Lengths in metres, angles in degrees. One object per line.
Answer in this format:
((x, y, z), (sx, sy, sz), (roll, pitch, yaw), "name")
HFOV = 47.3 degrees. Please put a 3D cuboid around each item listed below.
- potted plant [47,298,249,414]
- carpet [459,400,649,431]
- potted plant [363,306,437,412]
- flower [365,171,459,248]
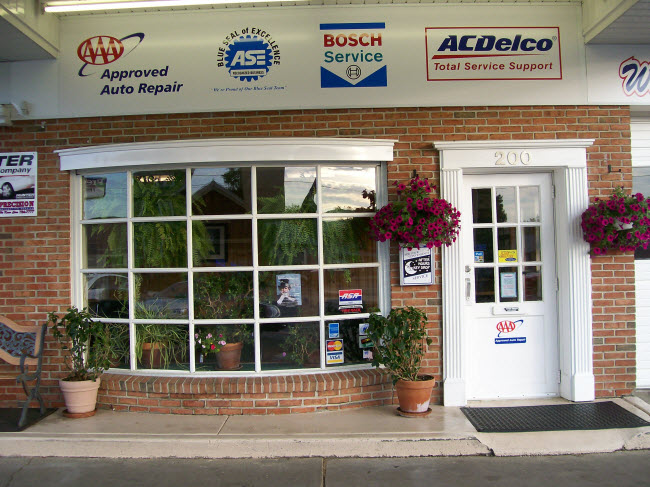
((-2.875, 1.523, 10.096), (1.354, 1.596, 1.209), (5, -10, -24), "potted plant")
((2.837, 2.157, 9.235), (2.142, 0.203, 0.792), (0, -2, -4), "carpet")
((0.971, 1.494, 9.552), (0.833, 1.339, 0.545), (-1, -3, 9), "potted plant")
((1.189, -0.304, 9.702), (1.006, 0.927, 0.890), (-6, -15, 8), "flower")
